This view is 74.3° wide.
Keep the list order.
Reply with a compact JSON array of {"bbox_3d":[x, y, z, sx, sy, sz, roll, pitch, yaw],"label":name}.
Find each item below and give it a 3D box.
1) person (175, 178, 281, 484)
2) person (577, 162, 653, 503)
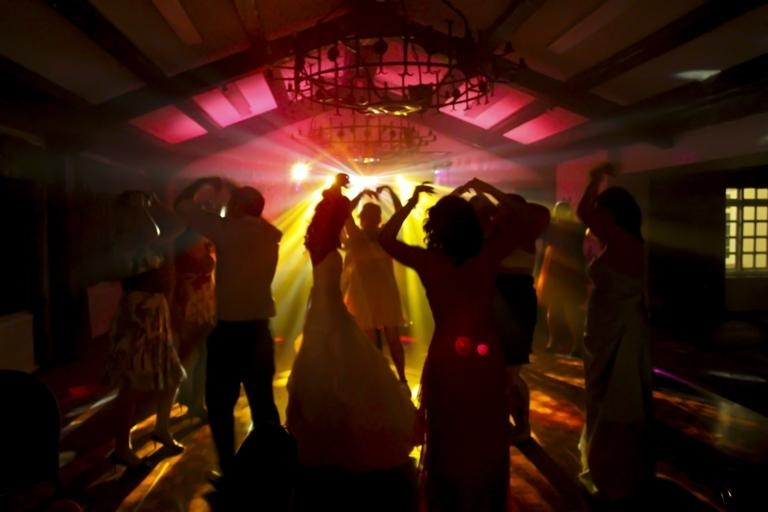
[{"bbox_3d":[-1.590,0.698,5.388,1.060,2.273,0.423,4,1,-15],"label":"person"},{"bbox_3d":[2.412,0.762,5.239,0.915,3.636,0.358,5,2,20],"label":"person"}]
